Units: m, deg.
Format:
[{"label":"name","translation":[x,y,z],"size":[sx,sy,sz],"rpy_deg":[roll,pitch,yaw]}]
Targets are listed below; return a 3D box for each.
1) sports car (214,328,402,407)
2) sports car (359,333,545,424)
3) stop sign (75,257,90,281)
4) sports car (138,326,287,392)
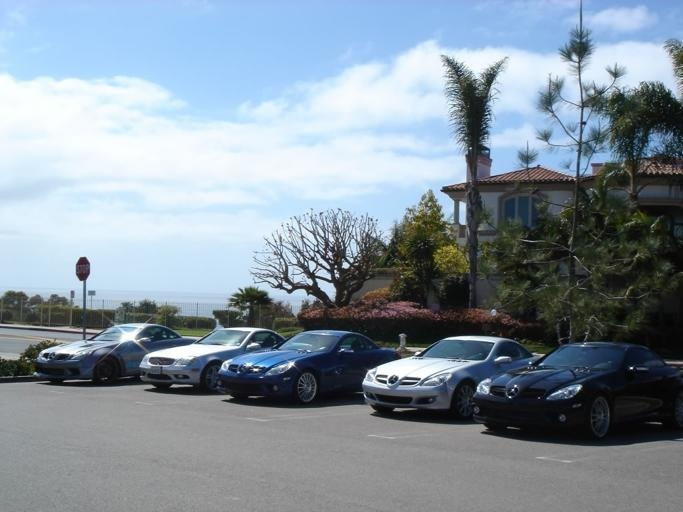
[{"label":"sports car","translation":[-0.601,2.516,16.562],"size":[1.594,1.098,3.337],"rpy_deg":[-7,-11,41]},{"label":"sports car","translation":[2.471,2.411,15.143],"size":[1.619,1.110,3.375],"rpy_deg":[-8,-11,44]},{"label":"stop sign","translation":[-7.634,0.395,21.631],"size":[0.291,0.685,0.423],"rpy_deg":[2,-1,-34]},{"label":"sports car","translation":[-2.911,2.613,18.078],"size":[1.585,1.109,3.364],"rpy_deg":[-3,-6,40]}]
